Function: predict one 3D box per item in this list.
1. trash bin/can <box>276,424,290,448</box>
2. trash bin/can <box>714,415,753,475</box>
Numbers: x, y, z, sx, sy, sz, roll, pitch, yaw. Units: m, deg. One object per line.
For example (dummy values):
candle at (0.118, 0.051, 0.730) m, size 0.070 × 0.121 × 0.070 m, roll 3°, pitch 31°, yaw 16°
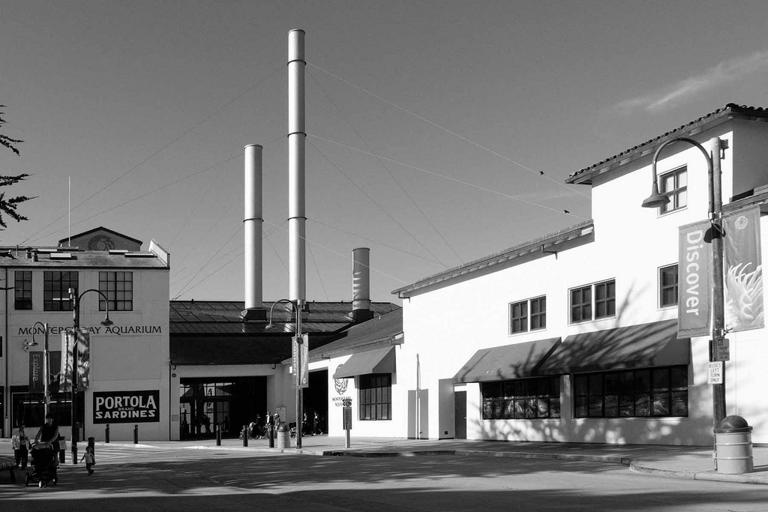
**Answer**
trash bin/can at (-4.981, 9.015, 58.828) m, size 0.493 × 1.328 × 0.722 m, roll 2°, pitch -15°, yaw -13°
trash bin/can at (11.823, 6.365, 39.575) m, size 1.197 × 2.001 × 0.575 m, roll -4°, pitch -15°, yaw 8°
